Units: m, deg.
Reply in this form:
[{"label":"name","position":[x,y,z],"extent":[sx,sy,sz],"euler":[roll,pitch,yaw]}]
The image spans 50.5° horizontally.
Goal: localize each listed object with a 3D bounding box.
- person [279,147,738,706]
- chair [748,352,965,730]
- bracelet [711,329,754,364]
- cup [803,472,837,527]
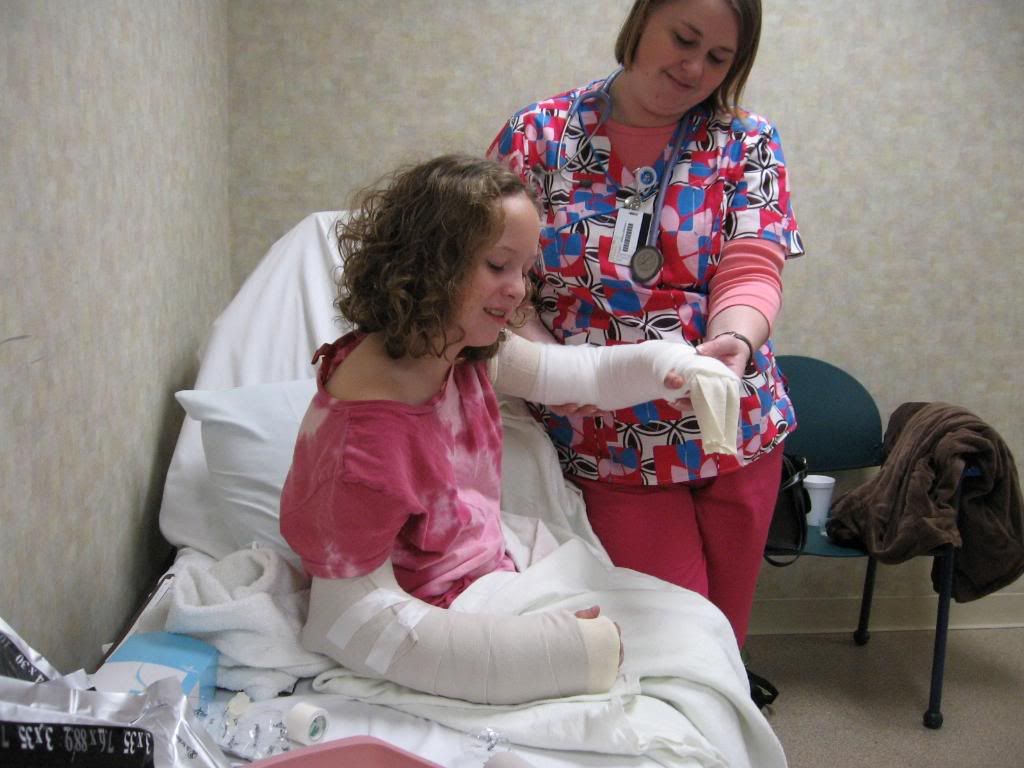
[{"label":"person","position":[-0.031,0.055,2.051],"extent":[0.754,0.955,0.491],"euler":[4,9,9]},{"label":"chair","position":[0.856,0.402,2.926],"extent":[0.660,0.896,0.647],"euler":[3,11,22]},{"label":"bracelet","position":[0.440,-0.065,2.163],"extent":[0.062,0.016,0.062],"euler":[35,31,-17]},{"label":"cup","position":[0.841,0.323,2.995],"extent":[0.120,0.134,0.119],"euler":[0,-3,0]}]
